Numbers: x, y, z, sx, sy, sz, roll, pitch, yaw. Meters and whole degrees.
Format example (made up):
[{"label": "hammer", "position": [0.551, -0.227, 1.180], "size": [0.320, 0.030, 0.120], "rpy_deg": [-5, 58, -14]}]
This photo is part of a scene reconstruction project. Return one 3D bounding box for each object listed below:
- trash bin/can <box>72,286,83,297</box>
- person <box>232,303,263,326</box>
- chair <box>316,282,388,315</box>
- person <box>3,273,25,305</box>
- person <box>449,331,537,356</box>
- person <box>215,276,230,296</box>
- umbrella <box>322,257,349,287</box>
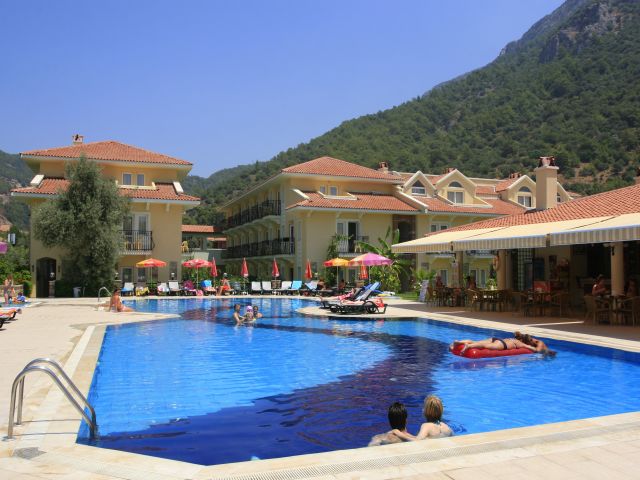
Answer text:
[{"label": "trash bin/can", "position": [-15.517, 3.315, 33.816], "size": [0.514, 0.516, 0.593], "rpy_deg": [1, -8, -8]}, {"label": "person", "position": [-3.175, 3.263, 22.694], "size": [1.145, 0.776, 1.650], "rpy_deg": [3, -6, -43]}, {"label": "chair", "position": [1.764, 2.762, 25.389], "size": [2.472, 1.483, 2.968], "rpy_deg": [-2, -6, 5]}, {"label": "person", "position": [-17.784, 2.839, 30.620], "size": [0.843, 1.361, 0.993], "rpy_deg": [-4, -9, 13]}, {"label": "person", "position": [5.212, 2.943, 14.952], "size": [1.682, 0.312, 0.936], "rpy_deg": [0, -3, -14]}, {"label": "person", "position": [-7.172, 3.396, 38.977], "size": [1.111, 1.652, 1.192], "rpy_deg": [8, -10, -40]}, {"label": "umbrella", "position": [1.299, 2.154, 36.440], "size": [1.940, 2.092, 2.049], "rpy_deg": [-7, -5, 40]}]
